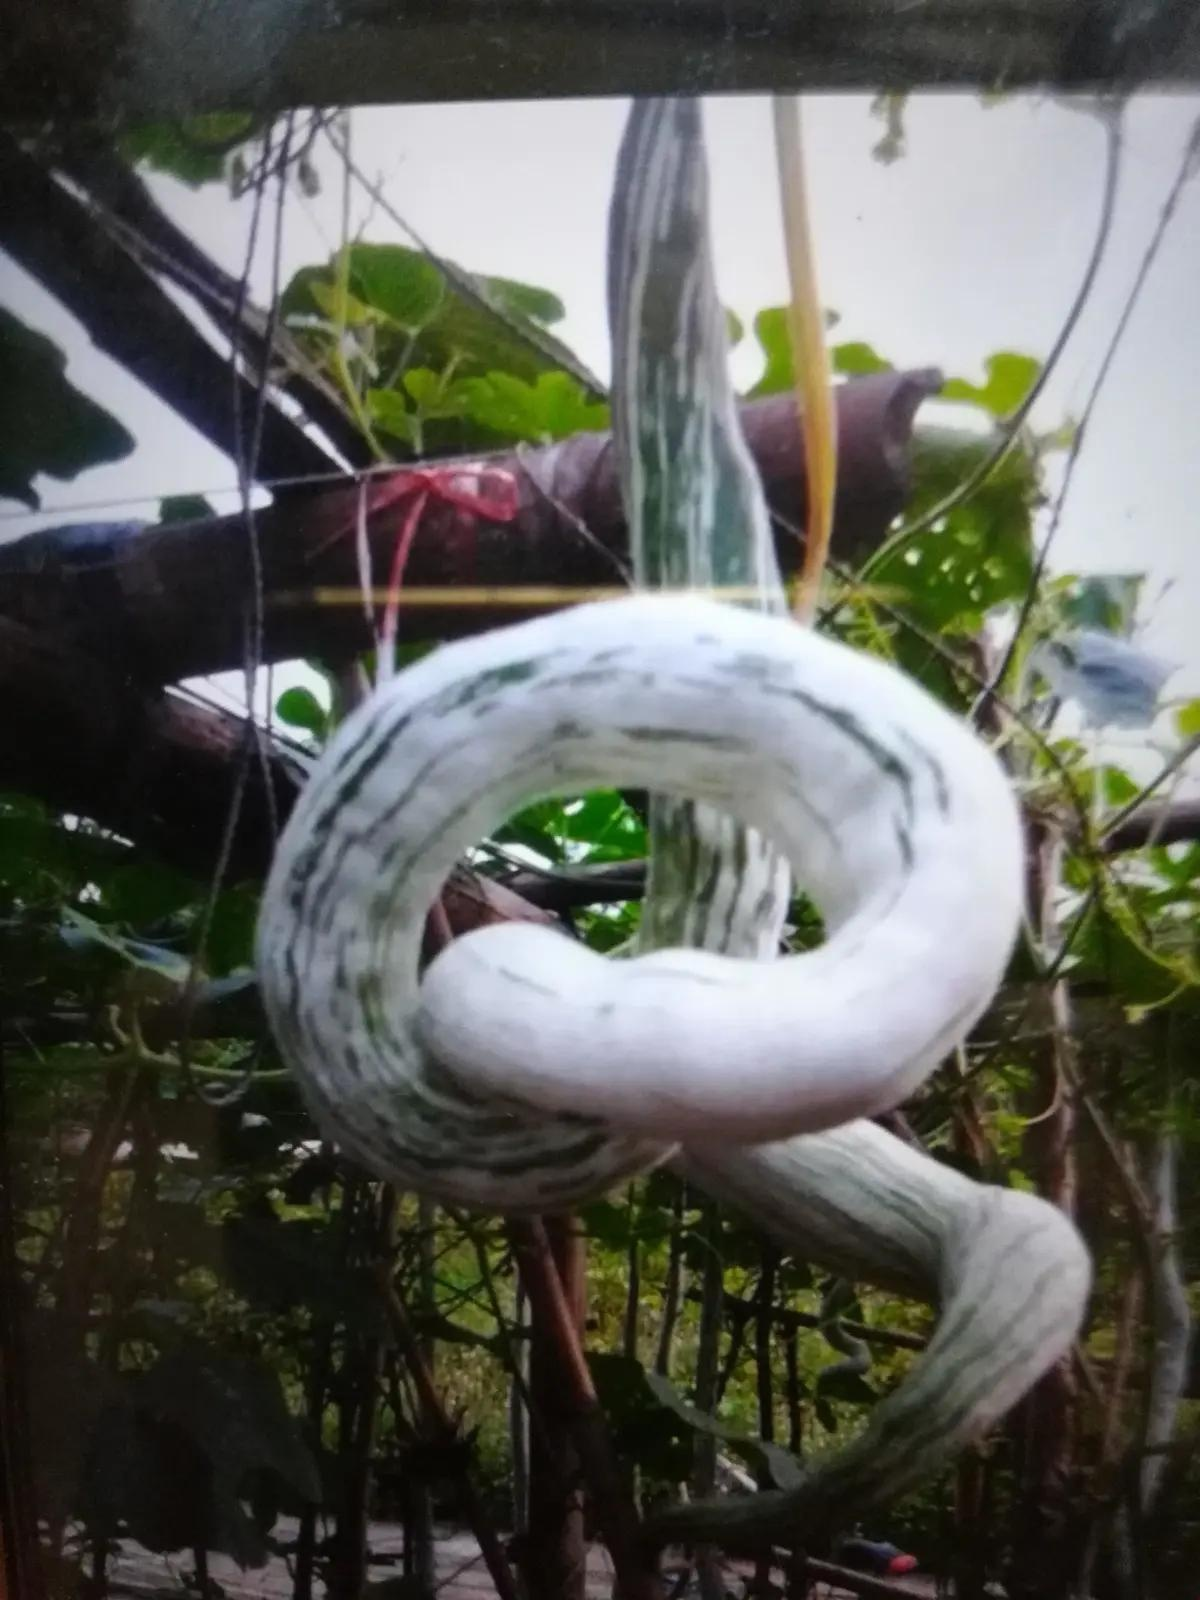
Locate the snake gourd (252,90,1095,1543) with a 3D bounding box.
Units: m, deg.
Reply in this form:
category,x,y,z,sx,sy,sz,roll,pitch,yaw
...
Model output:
category,x,y,z,sx,sy,sz,roll,pitch,yaw
snake gourd,0.024,-0.009,0.539,0.227,0.420,0.115,3,-20,12
